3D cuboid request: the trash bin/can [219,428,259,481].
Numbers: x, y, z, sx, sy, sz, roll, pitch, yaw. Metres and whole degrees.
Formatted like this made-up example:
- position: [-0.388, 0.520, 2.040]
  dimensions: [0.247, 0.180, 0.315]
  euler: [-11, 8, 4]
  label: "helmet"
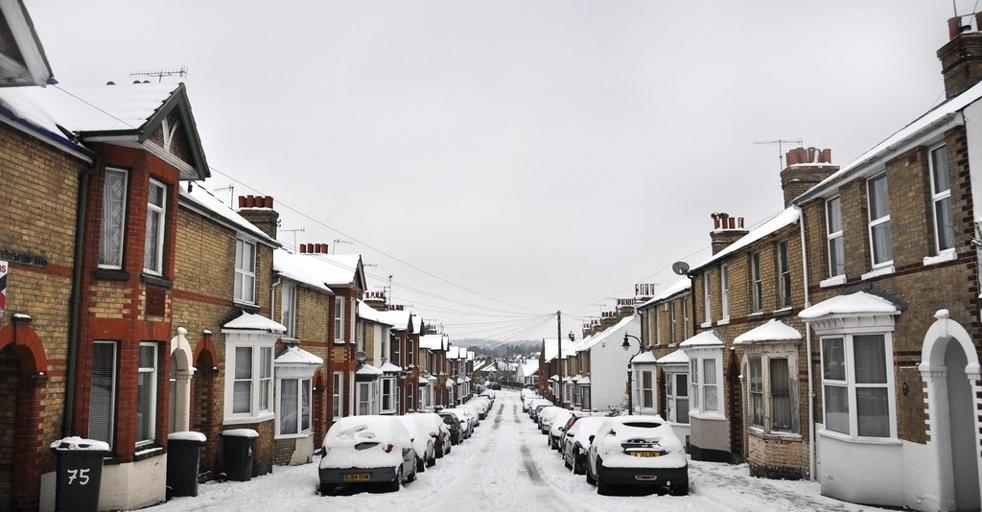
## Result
- position: [-9.692, 7.730, 31.874]
  dimensions: [1.642, 2.364, 2.013]
  euler: [7, -12, -33]
  label: "trash bin/can"
